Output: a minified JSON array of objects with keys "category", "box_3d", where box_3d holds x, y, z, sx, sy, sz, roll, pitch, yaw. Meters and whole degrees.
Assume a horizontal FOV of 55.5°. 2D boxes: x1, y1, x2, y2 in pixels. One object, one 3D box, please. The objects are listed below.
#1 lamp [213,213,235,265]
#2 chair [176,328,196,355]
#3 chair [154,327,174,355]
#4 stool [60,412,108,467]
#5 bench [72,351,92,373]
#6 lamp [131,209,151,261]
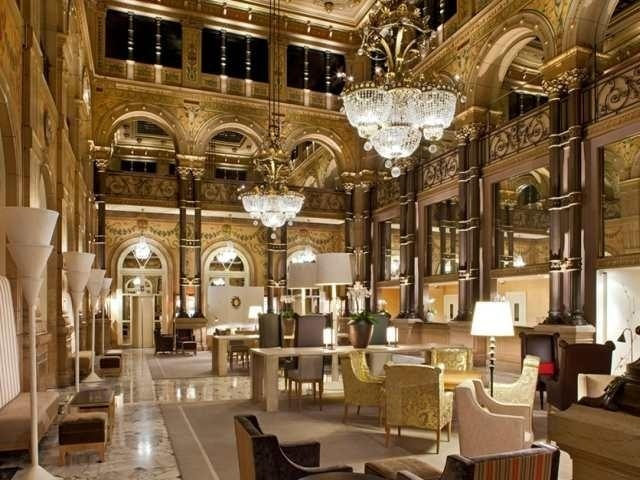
[{"category":"lamp","box_3d":[-3.212,0.171,21.033,0.829,1.513,0.776,4,-6,-34]},{"category":"chair","box_3d":[-3.728,2.876,17.368,0.474,0.803,0.806,2,-13,-13]},{"category":"chair","box_3d":[-4.512,2.987,17.790,0.564,0.867,0.620,1,-3,-15]},{"category":"stool","box_3d":[-2.882,2.410,7.457,0.520,0.524,0.575,4,-7,-16]},{"category":"bench","box_3d":[-4.930,2.601,12.639,0.359,0.395,1.237,2,-7,-20]},{"category":"lamp","box_3d":[-5.752,-0.091,19.820,0.561,1.569,1.021,2,-5,-18]}]
